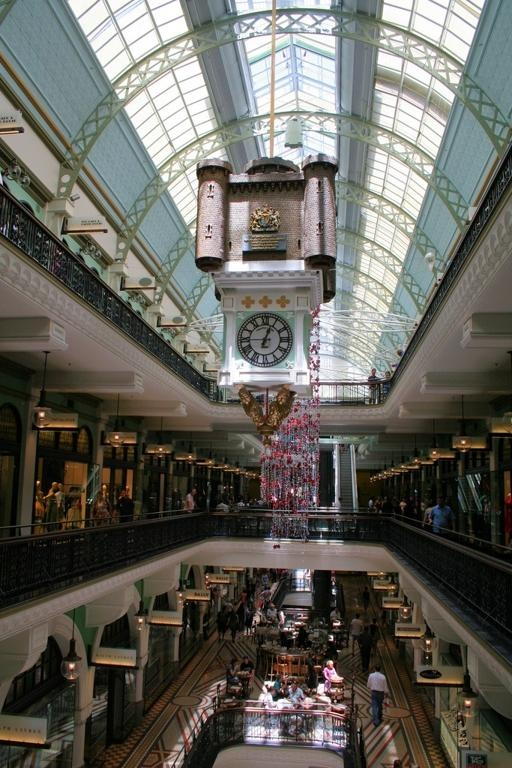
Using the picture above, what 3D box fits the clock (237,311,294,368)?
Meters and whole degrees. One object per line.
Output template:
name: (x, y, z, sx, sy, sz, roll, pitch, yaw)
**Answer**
clock: (0.089, -0.379, 4.791, 0.455, 0.538, 0.037, 3, -18, 5)
